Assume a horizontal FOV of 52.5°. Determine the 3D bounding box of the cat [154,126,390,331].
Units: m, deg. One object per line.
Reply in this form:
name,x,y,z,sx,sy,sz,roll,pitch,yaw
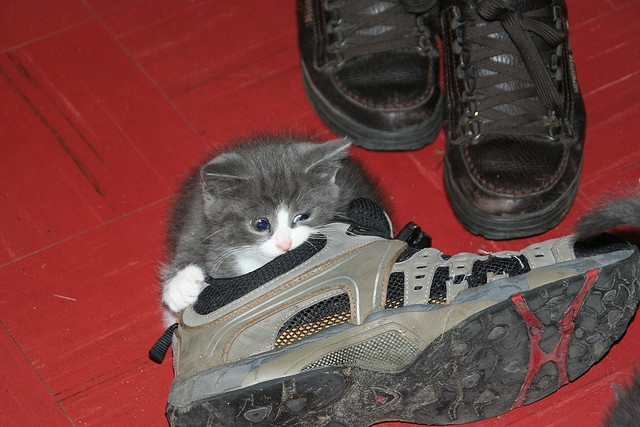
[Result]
cat,-0.299,0.100,2.356,0.647,0.867,0.343,-18,89,-32
